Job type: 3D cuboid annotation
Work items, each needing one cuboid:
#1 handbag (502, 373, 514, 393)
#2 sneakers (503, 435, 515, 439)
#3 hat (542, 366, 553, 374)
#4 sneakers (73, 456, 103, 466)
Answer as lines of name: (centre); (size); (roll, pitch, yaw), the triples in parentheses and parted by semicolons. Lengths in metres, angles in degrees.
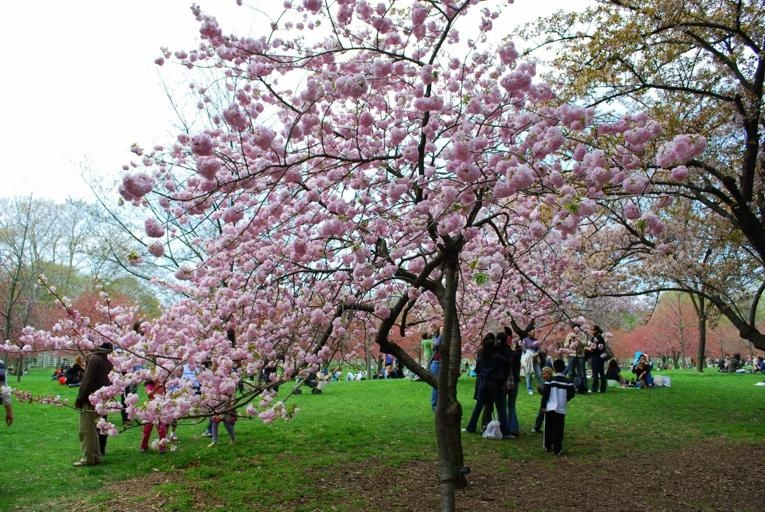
handbag: (2.758, 2.819, 13.036); (0.181, 0.518, 0.482); (2, 7, 19)
sneakers: (2.785, 3.997, 13.191); (0.259, 0.108, 0.093); (1, -11, -8)
hat: (3.592, 2.451, 12.968); (0.195, 0.145, 0.197); (12, -25, 5)
sneakers: (-5.851, 4.101, 11.895); (0.522, 0.214, 0.186); (11, -14, -12)
